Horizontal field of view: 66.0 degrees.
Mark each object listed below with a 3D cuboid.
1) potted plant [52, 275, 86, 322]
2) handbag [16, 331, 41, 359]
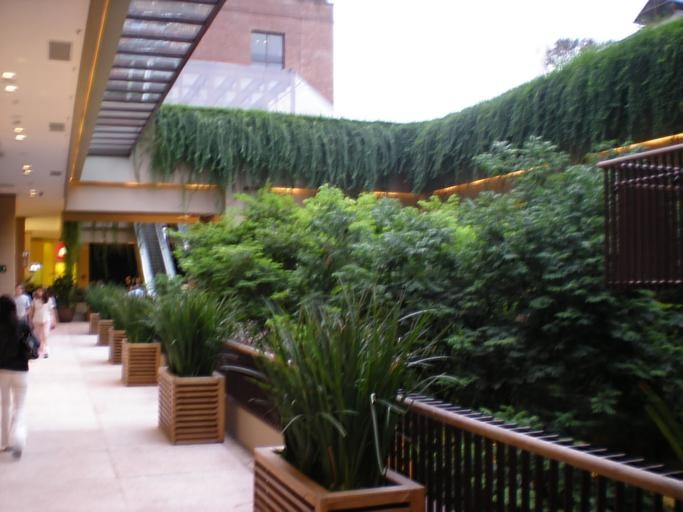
[{"bbox_3d":[-9.879,1.634,18.855,1.063,1.511,0.972,0,-4,-24],"label":"potted plant"},{"bbox_3d":[-2.665,0.775,4.506,0.153,0.226,0.078,2,4,9],"label":"handbag"}]
